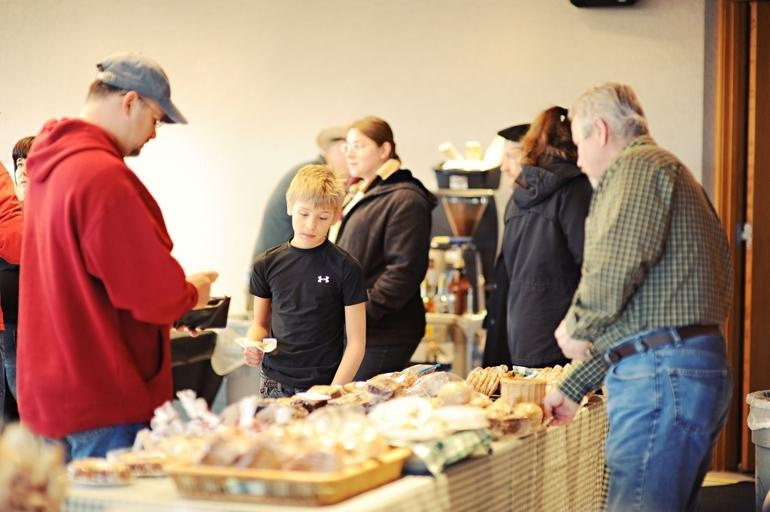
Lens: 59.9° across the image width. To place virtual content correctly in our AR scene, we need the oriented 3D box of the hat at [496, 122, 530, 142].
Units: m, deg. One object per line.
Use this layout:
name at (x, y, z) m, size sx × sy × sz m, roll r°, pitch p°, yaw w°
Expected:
hat at (0.715, -0.691, 3.721) m, size 0.184 × 0.053 × 0.181 m, roll 4°, pitch 34°, yaw 13°

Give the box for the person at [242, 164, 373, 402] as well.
person at (-0.319, 0.110, 2.803) m, size 0.535 × 0.960 × 0.337 m, roll 7°, pitch 13°, yaw 25°

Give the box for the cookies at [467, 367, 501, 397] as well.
cookies at (0.370, 0.441, 2.402) m, size 0.079 × 0.042 × 0.102 m, roll 8°, pitch 30°, yaw 38°

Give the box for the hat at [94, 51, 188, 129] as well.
hat at (-0.848, -0.605, 2.374) m, size 0.345 × 0.184 × 0.227 m, roll 17°, pitch 2°, yaw -16°

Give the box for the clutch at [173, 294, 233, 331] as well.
clutch at (-0.877, 0.275, 3.251) m, size 0.275 × 0.215 × 0.096 m, roll -7°, pitch 28°, yaw -22°

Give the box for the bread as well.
bread at (-0.302, 0.509, 1.733) m, size 0.214 × 0.049 × 0.156 m, roll 2°, pitch -5°, yaw 9°

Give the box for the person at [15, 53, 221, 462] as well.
person at (-0.954, -0.012, 2.250) m, size 0.589 × 1.314 × 0.406 m, roll -3°, pitch 13°, yaw -20°
